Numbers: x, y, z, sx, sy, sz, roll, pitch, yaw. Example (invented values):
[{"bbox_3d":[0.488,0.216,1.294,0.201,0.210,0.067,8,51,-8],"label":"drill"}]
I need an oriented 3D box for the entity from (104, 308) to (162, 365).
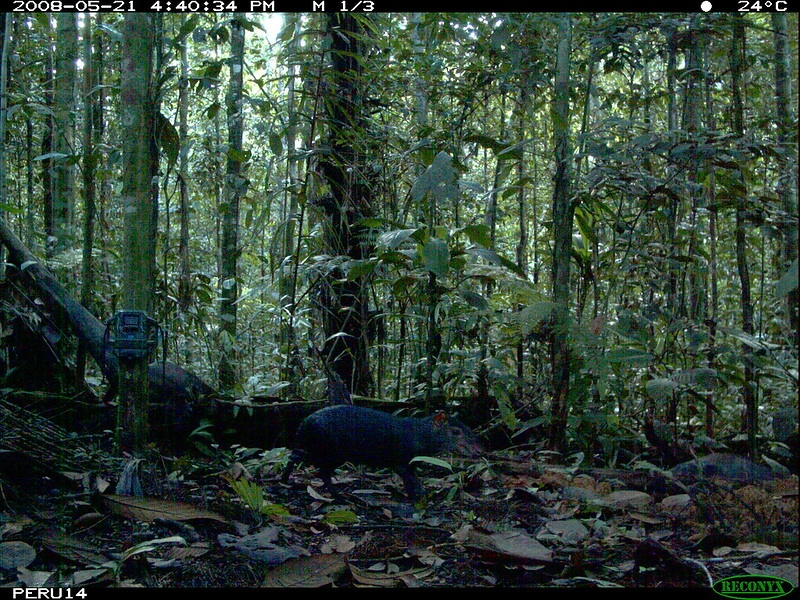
[{"bbox_3d":[-1.404,0.183,4.133,0.289,0.269,0.156,1,4,-5],"label":"entity"}]
